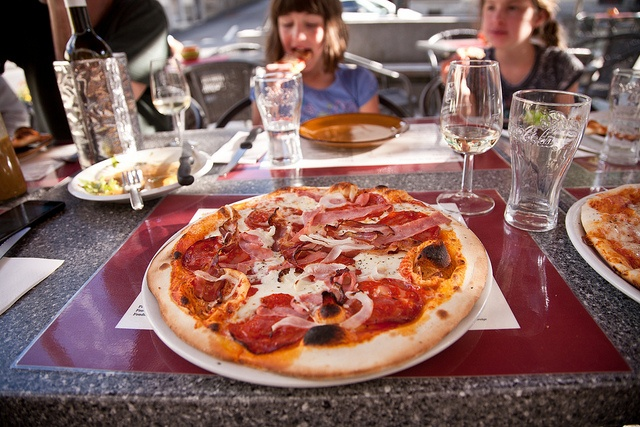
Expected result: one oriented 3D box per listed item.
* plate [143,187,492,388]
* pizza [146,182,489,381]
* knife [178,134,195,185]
[{"bbox_3d":[0.001,0.164,0.951,0.458,0.065,0.493,8,28,17],"label":"plate"},{"bbox_3d":[-0.015,0.162,0.953,0.449,0.058,0.474,-1,28,1],"label":"pizza"},{"bbox_3d":[-0.433,-0.184,1.468,0.053,0.034,0.307,3,25,-15],"label":"knife"}]
